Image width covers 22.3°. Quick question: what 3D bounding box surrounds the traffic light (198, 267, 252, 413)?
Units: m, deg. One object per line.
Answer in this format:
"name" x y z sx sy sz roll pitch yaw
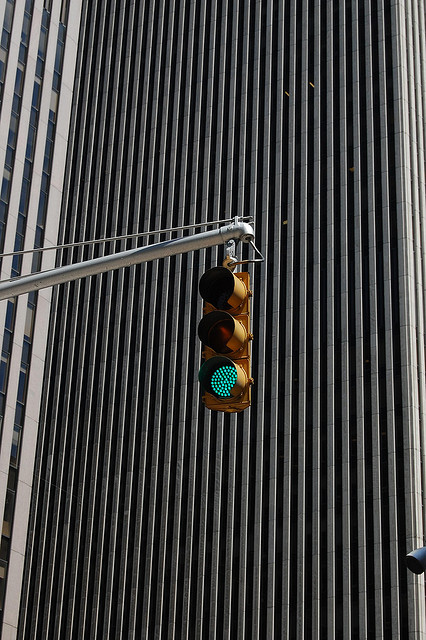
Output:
"traffic light" 0.116 0.132 11.311 0.556 1.638 0.561 0 -25 2
